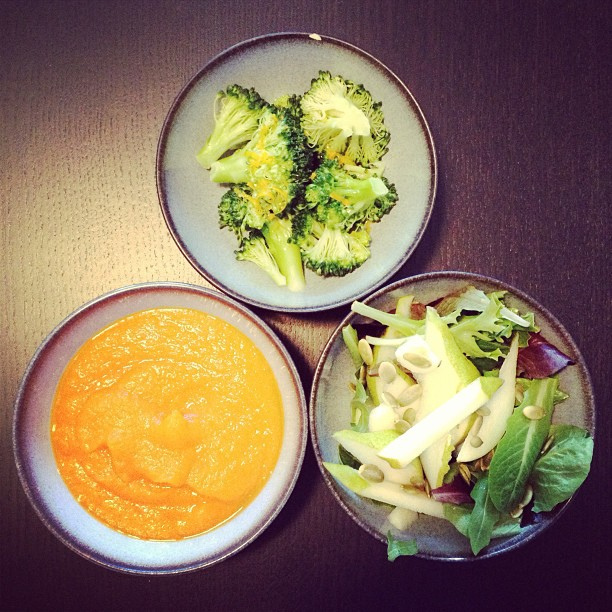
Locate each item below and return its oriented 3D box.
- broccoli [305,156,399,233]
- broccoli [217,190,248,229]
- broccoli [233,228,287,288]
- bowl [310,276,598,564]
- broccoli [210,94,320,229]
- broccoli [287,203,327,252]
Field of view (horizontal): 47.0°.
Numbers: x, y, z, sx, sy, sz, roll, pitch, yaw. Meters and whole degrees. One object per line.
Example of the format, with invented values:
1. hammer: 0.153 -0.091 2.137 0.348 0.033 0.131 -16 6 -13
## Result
1. broccoli: 0.134 -0.352 2.197 0.271 0.155 0.230 -5 93 -1
2. broccoli: -0.246 -0.313 2.308 0.101 0.041 0.113 0 83 14
3. broccoli: -0.153 -0.162 2.407 0.214 0.111 0.140 43 73 6
4. bowl: 0.462 0.322 2.189 0.837 0.230 0.787 0 81 0
5. broccoli: -0.145 -0.462 2.370 0.370 0.477 0.225 4 67 -31
6. broccoli: 0.000 -0.265 2.367 0.122 0.060 0.142 -39 113 11
